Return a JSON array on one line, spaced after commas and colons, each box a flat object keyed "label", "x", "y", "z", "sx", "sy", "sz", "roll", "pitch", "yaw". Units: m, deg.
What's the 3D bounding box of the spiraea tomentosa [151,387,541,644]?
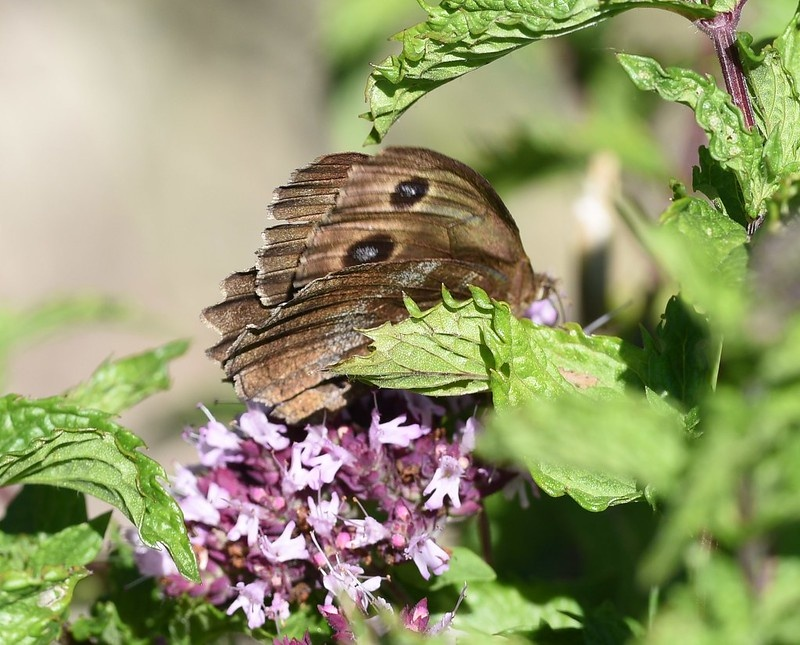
[{"label": "spiraea tomentosa", "x": -0.125, "y": 0.332, "z": 1.661, "sx": 0.452, "sy": 0.240, "sz": 0.452, "roll": -28, "pitch": -17, "yaw": 26}]

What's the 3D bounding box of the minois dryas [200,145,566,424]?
[{"label": "minois dryas", "x": -0.061, "y": -0.125, "z": 1.692, "sx": 0.452, "sy": 0.303, "sz": 0.498, "roll": -2, "pitch": 13, "yaw": 2}]
